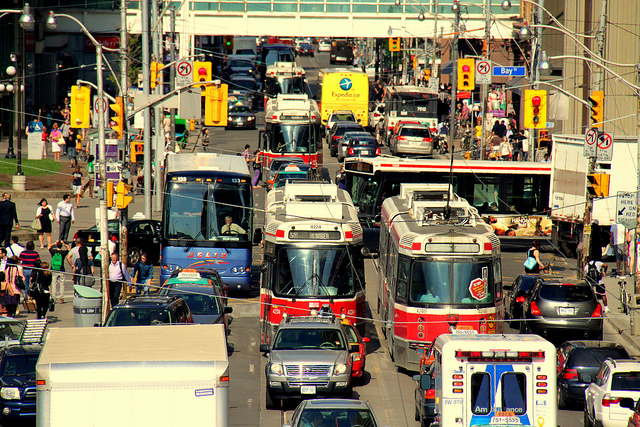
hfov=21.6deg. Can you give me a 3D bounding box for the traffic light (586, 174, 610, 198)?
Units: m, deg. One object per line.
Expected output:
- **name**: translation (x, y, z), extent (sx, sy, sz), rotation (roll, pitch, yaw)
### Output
- **traffic light**: translation (12.743, -1.294, 76.968), extent (1.056, 1.348, 0.726), rotation (0, 3, -8)

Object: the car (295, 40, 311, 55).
- **car**: translation (-2.084, -19.181, 195.516), extent (1.693, 1.434, 3.177), rotation (1, 10, 3)

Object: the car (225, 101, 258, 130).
- **car**: translation (-5.332, -6.517, 112.071), extent (2.061, 1.539, 4.377), rotation (1, 13, -3)

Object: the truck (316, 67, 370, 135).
- **truck**: translation (1.501, -7.280, 109.788), extent (3.976, 5.469, 11.233), rotation (0, 4, -2)

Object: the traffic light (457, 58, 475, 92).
- **traffic light**: translation (8.610, -8.141, 98.680), extent (0.933, 1.911, 0.835), rotation (-2, 18, 3)

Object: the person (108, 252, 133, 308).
- **person**: translation (-9.165, 3.102, 75.391), extent (1.469, 2.730, 0.689), rotation (3, 8, 10)

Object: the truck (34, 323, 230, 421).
- **truck**: translation (-6.993, 6.018, 62.551), extent (7.112, 2.856, 3.932), rotation (-6, 20, -6)

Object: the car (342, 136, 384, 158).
- **car**: translation (2.395, -3.922, 98.814), extent (1.316, 1.039, 2.767), rotation (0, 10, -2)

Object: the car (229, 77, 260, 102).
- **car**: translation (-5.593, -9.060, 122.290), extent (2.605, 2.183, 5.607), rotation (0, 0, -2)

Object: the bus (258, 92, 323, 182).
- **bus**: translation (-1.472, -3.131, 100.932), extent (3.599, 4.836, 10.962), rotation (1, -10, 1)

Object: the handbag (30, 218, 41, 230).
- **handbag**: translation (-13.948, 0.530, 82.593), extent (0.405, 0.611, 0.280), rotation (9, -17, 9)

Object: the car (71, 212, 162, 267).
- **car**: translation (-9.012, 1.506, 83.448), extent (2.754, 2.579, 7.136), rotation (-2, -2, 33)

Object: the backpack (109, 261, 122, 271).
- **backpack**: translation (-9.082, 2.394, 75.274), extent (0.499, 0.337, 0.357), rotation (-8, 20, -12)

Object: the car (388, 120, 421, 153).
- **car**: translation (5.206, -4.669, 102.387), extent (1.458, 1.348, 2.452), rotation (0, 15, 2)

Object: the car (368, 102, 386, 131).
- **car**: translation (3.858, -6.718, 114.201), extent (0.821, 0.974, 2.011), rotation (1, 15, 1)

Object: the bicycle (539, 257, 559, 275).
- **bicycle**: translation (10.968, 2.573, 80.765), extent (0.500, 0.671, 0.982), rotation (8, 1, 4)

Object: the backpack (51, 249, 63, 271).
- **backpack**: translation (-11.796, 2.171, 75.419), extent (0.449, 0.828, 0.805), rotation (3, -2, -1)

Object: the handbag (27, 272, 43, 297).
- **handbag**: translation (-12.465, 3.184, 73.561), extent (0.665, 1.089, 0.285), rotation (4, 19, 20)

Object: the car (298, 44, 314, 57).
- **car**: translation (-1.611, -18.239, 186.971), extent (1.275, 1.112, 2.264), rotation (-1, 4, -7)

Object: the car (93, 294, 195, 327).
- **car**: translation (-7.196, 4.507, 70.142), extent (2.740, 1.685, 3.510), rotation (0, 14, 0)

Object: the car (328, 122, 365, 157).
- **car**: translation (1.393, -4.739, 105.685), extent (1.266, 1.347, 2.981), rotation (0, 15, -1)

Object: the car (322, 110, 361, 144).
- **car**: translation (1.343, -5.650, 109.751), extent (1.454, 1.325, 2.411), rotation (-1, 22, -1)

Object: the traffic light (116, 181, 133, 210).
- **traffic light**: translation (-8.738, -0.717, 75.079), extent (0.782, 1.425, 0.319), rotation (1, -31, -6)

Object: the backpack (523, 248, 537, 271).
- **backpack**: translation (9.887, 2.420, 78.749), extent (0.556, 0.678, 0.404), rotation (-1, 19, 7)
